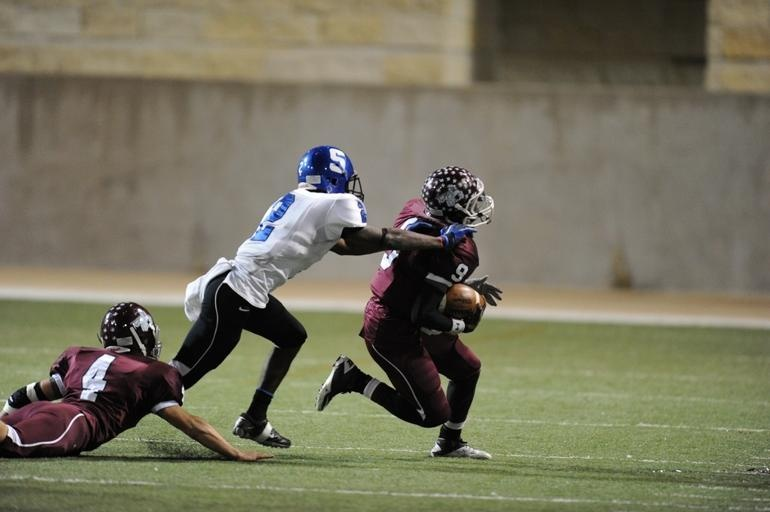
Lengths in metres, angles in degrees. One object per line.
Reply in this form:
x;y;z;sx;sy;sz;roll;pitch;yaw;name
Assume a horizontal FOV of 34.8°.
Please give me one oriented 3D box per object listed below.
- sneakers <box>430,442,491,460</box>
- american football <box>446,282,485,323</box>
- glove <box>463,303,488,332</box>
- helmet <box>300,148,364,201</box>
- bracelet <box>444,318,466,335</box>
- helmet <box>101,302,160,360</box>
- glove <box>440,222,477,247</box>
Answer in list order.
0.702;1.828;11.638;0.622;0.239;0.202;-1;-8;4;sneakers
0.740;0.418;11.494;0.463;0.365;0.335;8;-2;-35;american football
0.857;0.578;11.536;0.239;0.257;0.205;17;6;-13;glove
-0.507;-0.802;11.836;0.595;0.442;0.457;2;4;-20;helmet
0.662;0.651;11.380;0.146;0.110;0.119;-5;23;-17;bracelet
-2.390;0.674;11.264;0.437;0.502;0.568;13;5;33;helmet
0.676;-0.212;11.301;0.296;0.167;0.093;-12;-27;-24;glove
